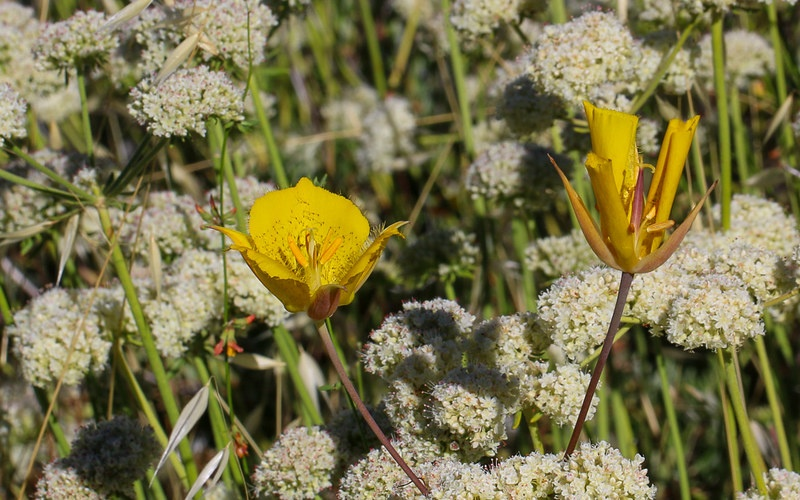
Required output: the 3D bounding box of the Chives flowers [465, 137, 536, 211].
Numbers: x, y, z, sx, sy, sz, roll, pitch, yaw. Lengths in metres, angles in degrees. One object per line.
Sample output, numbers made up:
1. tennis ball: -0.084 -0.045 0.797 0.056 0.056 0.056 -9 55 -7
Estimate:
1. Chives flowers: 0.589 -0.457 5.636 0.356 0.261 0.308 -33 26 11
